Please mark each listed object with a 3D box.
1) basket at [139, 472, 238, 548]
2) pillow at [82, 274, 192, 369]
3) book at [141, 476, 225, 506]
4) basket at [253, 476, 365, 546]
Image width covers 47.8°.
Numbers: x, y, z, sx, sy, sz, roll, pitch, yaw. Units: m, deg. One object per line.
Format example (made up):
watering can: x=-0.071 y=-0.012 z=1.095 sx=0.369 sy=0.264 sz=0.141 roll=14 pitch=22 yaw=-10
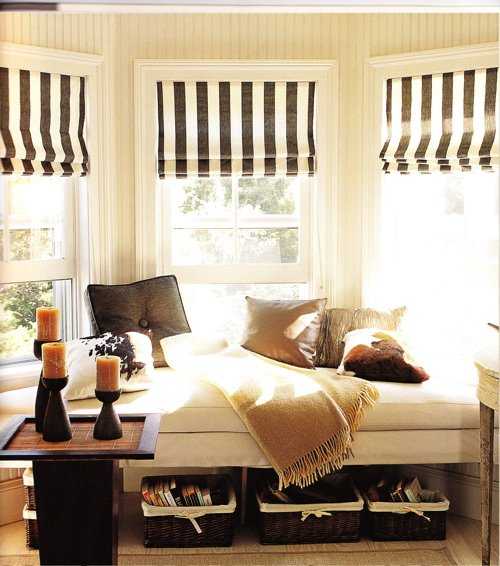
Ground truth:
basket: x=-0.268 y=0.957 z=2.475 sx=0.353 sy=0.158 sz=0.289 roll=0 pitch=2 yaw=-4
pillow: x=-0.571 y=0.165 z=2.939 sx=0.485 sy=0.465 sz=0.175 roll=-13 pitch=-15 yaw=-38
book: x=-0.294 y=0.900 z=2.434 sx=0.231 sy=0.082 sz=0.157 roll=2 pitch=-3 yaw=-4
basket: x=0.249 y=1.002 z=2.449 sx=0.336 sy=0.132 sz=0.324 roll=-1 pitch=2 yaw=-4
